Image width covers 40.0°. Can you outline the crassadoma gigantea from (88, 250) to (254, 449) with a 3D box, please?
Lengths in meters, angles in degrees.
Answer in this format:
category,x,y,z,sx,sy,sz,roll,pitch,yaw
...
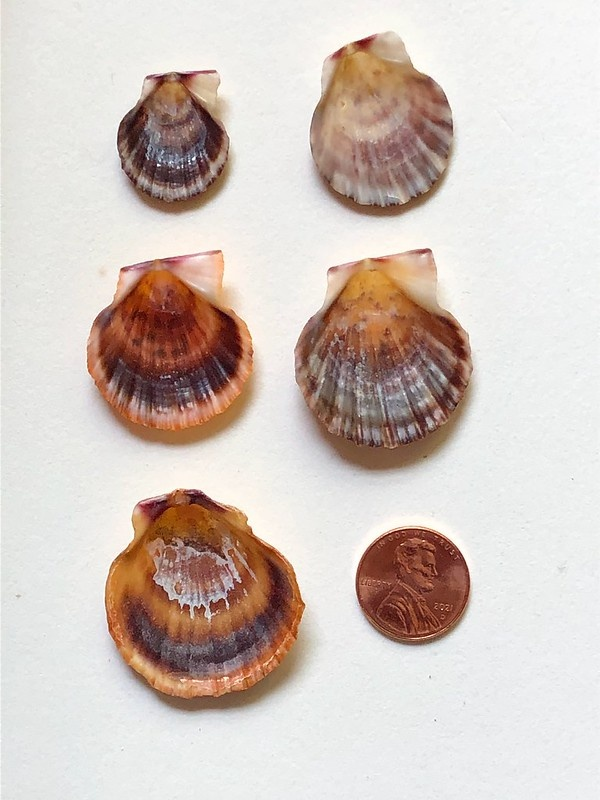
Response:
category,x,y,z,sx,sy,sz,roll,pitch,yaw
crassadoma gigantea,-0.224,-0.081,1.313,0.311,0.280,0.072,-3,6,1

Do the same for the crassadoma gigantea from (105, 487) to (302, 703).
category,x,y,z,sx,sy,sz,roll,pitch,yaw
crassadoma gigantea,-0.167,0.315,1.318,0.247,0.337,0.234,-28,38,-29

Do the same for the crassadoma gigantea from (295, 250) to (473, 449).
category,x,y,z,sx,sy,sz,roll,pitch,yaw
crassadoma gigantea,0.134,-0.077,1.340,0.288,0.288,0.154,-7,33,0

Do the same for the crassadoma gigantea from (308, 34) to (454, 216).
category,x,y,z,sx,sy,sz,roll,pitch,yaw
crassadoma gigantea,0.133,-0.462,1.370,0.234,0.257,0.129,-5,34,4

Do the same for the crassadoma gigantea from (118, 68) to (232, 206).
category,x,y,z,sx,sy,sz,roll,pitch,yaw
crassadoma gigantea,-0.212,-0.440,1.395,0.212,0.203,0.051,1,9,1
